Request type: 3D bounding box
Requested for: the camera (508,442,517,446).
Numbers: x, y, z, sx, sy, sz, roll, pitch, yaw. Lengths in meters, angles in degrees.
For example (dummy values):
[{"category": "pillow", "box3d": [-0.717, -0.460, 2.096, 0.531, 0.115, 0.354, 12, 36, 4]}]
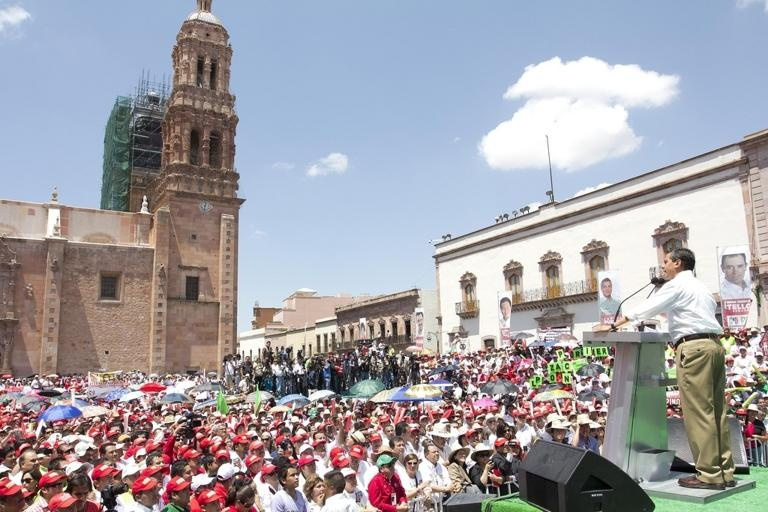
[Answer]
[{"category": "camera", "box3d": [3.205, 4.595, 17.370, 0.153, 0.117, 0.419, -9, -13, 26]}]
